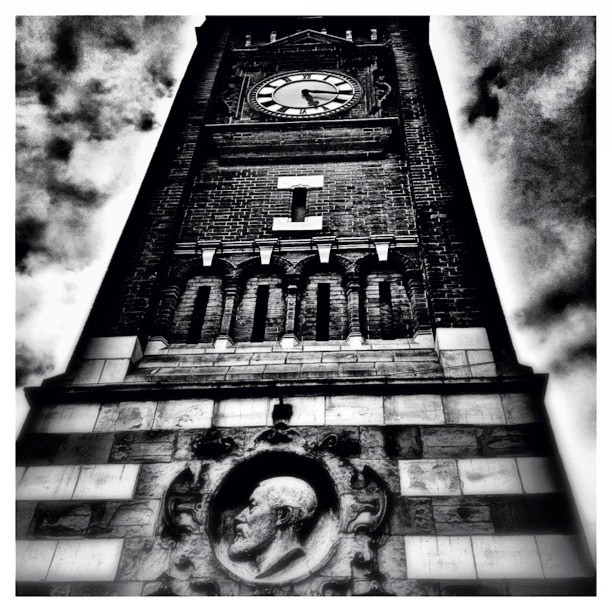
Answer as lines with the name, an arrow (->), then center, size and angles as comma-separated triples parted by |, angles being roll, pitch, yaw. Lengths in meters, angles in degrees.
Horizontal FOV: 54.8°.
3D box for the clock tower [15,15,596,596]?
clock tower -> 0.299, -3.610, 13.264 | 7.875, 18.536, 5.805 | -4, -29, 13
